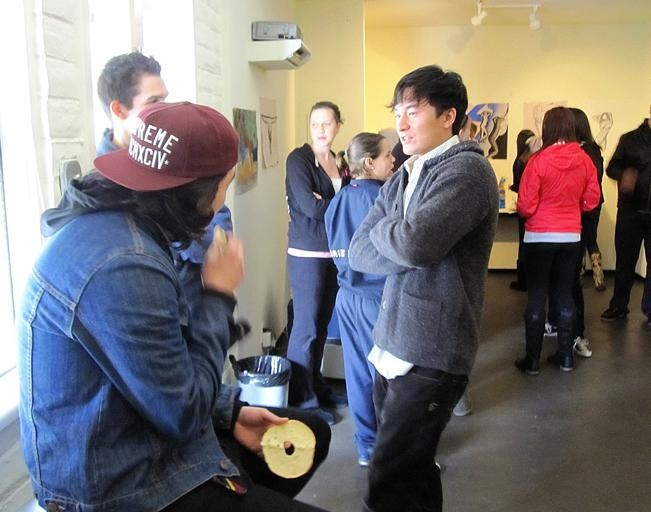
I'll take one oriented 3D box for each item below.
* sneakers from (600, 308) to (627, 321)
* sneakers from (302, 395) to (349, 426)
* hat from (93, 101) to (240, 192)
[{"bbox_3d":[2.759,0.564,4.921,0.281,0.130,0.111,-1,-1,-7],"label":"sneakers"},{"bbox_3d":[0.001,0.950,3.154,0.266,0.095,0.276,-7,-4,36],"label":"sneakers"},{"bbox_3d":[-0.358,-0.280,1.187,0.365,0.144,0.256,-16,31,-28],"label":"hat"}]
